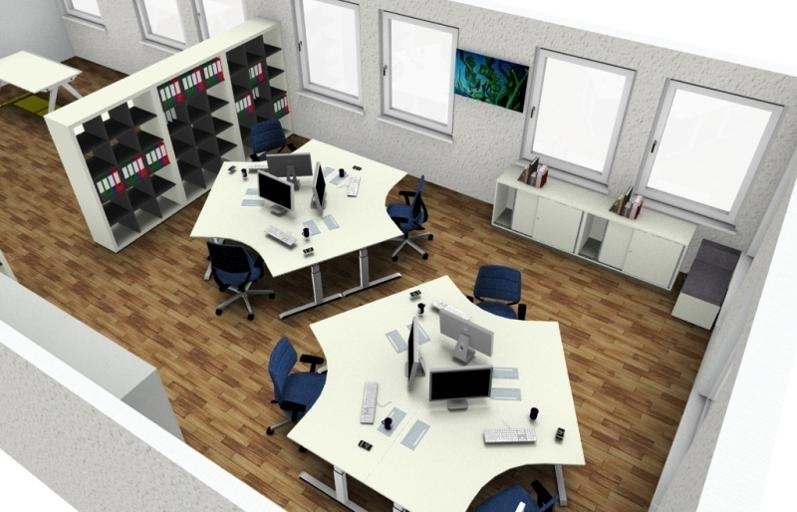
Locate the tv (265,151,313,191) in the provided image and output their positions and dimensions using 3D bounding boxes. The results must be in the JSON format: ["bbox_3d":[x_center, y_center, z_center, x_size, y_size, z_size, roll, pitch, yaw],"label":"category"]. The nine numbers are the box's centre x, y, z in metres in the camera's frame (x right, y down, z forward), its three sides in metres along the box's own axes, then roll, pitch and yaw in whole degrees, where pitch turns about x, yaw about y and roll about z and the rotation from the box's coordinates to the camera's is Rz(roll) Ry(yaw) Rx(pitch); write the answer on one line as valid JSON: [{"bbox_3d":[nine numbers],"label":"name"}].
[{"bbox_3d":[-1.416,-1.079,7.224,0.670,0.528,0.258,2,48,1],"label":"tv"}]

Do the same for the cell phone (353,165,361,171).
[{"bbox_3d":[-0.574,-1.211,7.686,0.104,0.024,0.057,19,56,15],"label":"cell phone"}]

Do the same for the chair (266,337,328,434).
[{"bbox_3d":[-1.064,1.388,5.826,0.623,0.749,0.638,19,58,10],"label":"chair"}]

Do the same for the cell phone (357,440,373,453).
[{"bbox_3d":[-0.312,1.741,5.139,0.140,0.034,0.081,16,42,17],"label":"cell phone"}]

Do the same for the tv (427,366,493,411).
[{"bbox_3d":[0.576,1.249,5.272,0.525,0.349,0.140,-3,41,-1],"label":"tv"}]

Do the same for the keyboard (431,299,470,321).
[{"bbox_3d":[0.524,0.561,5.822,0.310,0.040,0.165,24,45,26],"label":"keyboard"}]

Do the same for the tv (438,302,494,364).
[{"bbox_3d":[0.673,0.810,5.710,0.528,0.367,0.212,24,53,23],"label":"tv"}]

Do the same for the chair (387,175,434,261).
[{"bbox_3d":[0.151,-0.480,7.783,0.732,1.055,0.722,9,57,4],"label":"chair"}]

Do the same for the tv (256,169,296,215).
[{"bbox_3d":[-1.550,-0.787,7.048,0.572,0.394,0.160,24,51,21],"label":"tv"}]

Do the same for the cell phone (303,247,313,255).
[{"bbox_3d":[-1.076,-0.062,6.653,0.134,0.026,0.113,-24,46,-27],"label":"cell phone"}]

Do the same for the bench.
[{"bbox_3d":[3.681,0.340,6.694,0.640,0.730,1.109,22,77,17],"label":"bench"}]

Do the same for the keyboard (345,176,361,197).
[{"bbox_3d":[-0.609,-0.913,7.403,0.130,0.039,0.362,4,41,5],"label":"keyboard"}]
